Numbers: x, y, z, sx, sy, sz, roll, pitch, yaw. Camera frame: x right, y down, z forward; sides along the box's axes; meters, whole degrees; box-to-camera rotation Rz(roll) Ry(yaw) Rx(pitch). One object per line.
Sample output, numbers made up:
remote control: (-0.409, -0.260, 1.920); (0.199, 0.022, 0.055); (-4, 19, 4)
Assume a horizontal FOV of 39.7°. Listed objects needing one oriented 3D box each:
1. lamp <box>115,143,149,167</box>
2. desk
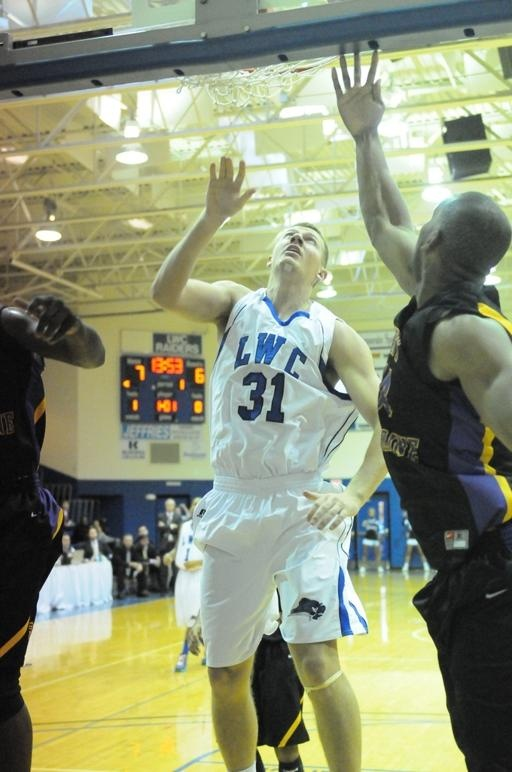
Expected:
lamp: (-1.722, -3.203, 9.882); (0.447, 0.386, 0.099); (-5, -7, -2)
desk: (-3.224, 3.558, 12.794); (1.288, 0.459, 1.761); (-4, -7, 19)
